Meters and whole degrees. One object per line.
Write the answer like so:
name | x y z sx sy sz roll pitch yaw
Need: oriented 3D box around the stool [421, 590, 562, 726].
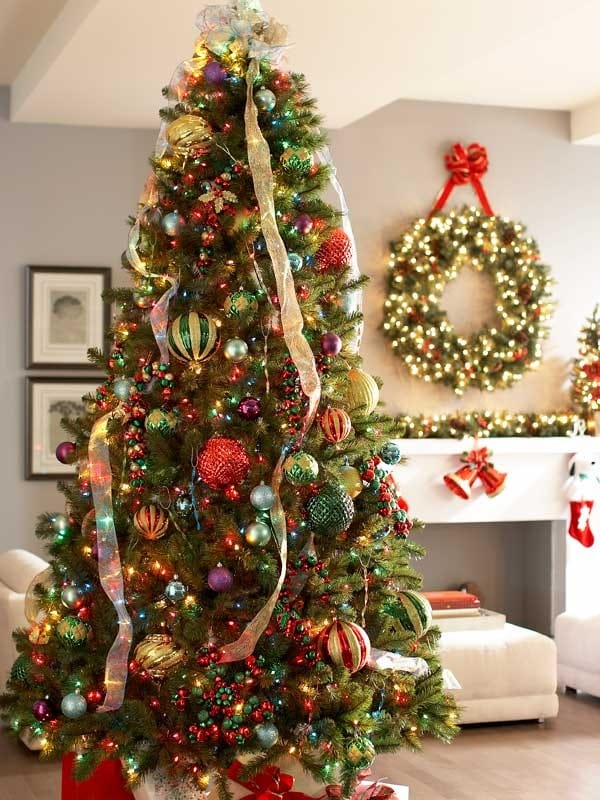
stool | 0.730 1.002 3.230 0.482 0.434 0.517 0 -5 8

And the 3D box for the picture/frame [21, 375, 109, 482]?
picture/frame | -1.098 0.128 3.867 0.329 0.474 0.093 2 -6 -13
